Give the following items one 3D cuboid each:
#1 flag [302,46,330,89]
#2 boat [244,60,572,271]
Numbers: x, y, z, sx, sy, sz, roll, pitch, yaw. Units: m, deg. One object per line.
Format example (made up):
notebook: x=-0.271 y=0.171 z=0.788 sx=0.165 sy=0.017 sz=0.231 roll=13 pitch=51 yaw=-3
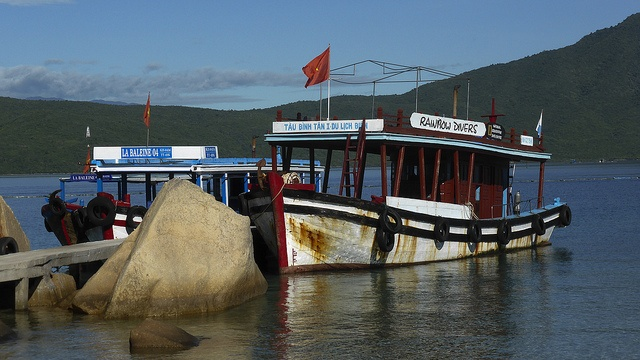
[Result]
flag: x=-0.185 y=-10.326 z=90.013 sx=2.094 sy=3.583 sz=3.327 roll=0 pitch=2 yaw=-1
boat: x=8.063 y=-0.069 z=92.908 sx=27.755 sy=17.295 sz=5.889 roll=0 pitch=2 yaw=-24
